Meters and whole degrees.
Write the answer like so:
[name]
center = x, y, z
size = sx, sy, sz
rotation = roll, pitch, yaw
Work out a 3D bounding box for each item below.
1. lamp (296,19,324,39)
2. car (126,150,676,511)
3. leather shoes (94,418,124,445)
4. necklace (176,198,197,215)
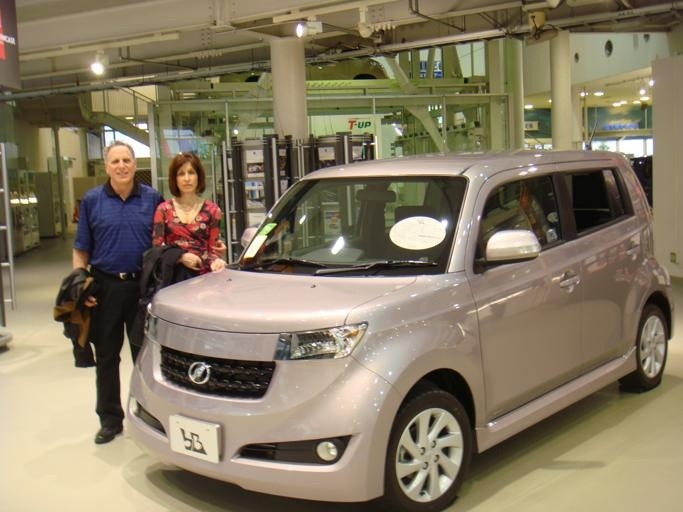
[lamp]
center = -0.551, -3.967, 8.266
size = 0.406, 0.389, 0.509
rotation = -3, 3, 2
[car]
center = 0.562, 0.284, 3.056
size = 3.096, 1.390, 1.829
rotation = -3, 2, -43
[leather shoes]
center = -1.752, 1.327, 3.552
size = 0.092, 0.095, 0.228
rotation = -1, -2, 14
[necklace]
center = -1.174, -0.365, 3.582
size = 0.139, 0.129, 0.034
rotation = 5, -2, -13
